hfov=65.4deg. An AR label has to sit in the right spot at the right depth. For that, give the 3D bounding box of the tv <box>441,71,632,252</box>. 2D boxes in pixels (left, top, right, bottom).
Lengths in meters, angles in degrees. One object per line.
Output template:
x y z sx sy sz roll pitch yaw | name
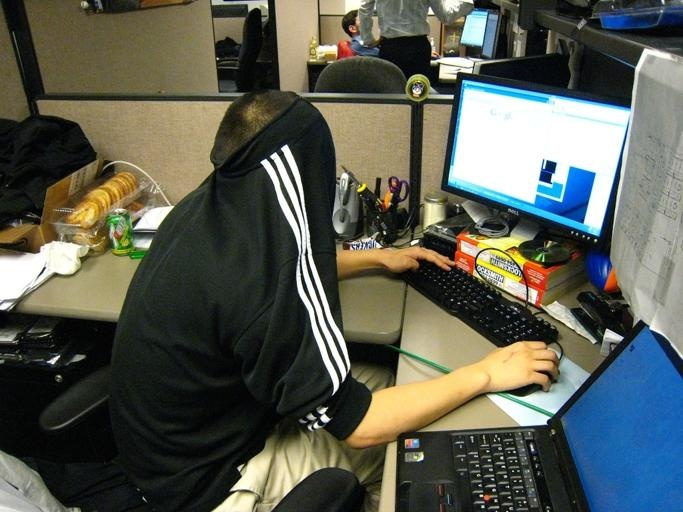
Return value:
0.484 -0.230 1.322 0.080 0.318 0.429 -27 43 -30 | tv

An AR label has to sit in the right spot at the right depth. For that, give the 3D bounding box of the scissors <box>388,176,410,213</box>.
0.178 -0.197 1.670 0.014 0.104 0.079 -10 40 -17 | scissors

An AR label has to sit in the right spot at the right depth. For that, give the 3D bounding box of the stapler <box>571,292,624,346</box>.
0.577 0.134 1.231 0.099 0.092 0.104 11 23 12 | stapler

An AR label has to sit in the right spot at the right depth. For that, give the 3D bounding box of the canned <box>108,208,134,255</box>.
-0.682 -0.082 1.648 0.059 0.159 0.058 -12 32 -28 | canned
